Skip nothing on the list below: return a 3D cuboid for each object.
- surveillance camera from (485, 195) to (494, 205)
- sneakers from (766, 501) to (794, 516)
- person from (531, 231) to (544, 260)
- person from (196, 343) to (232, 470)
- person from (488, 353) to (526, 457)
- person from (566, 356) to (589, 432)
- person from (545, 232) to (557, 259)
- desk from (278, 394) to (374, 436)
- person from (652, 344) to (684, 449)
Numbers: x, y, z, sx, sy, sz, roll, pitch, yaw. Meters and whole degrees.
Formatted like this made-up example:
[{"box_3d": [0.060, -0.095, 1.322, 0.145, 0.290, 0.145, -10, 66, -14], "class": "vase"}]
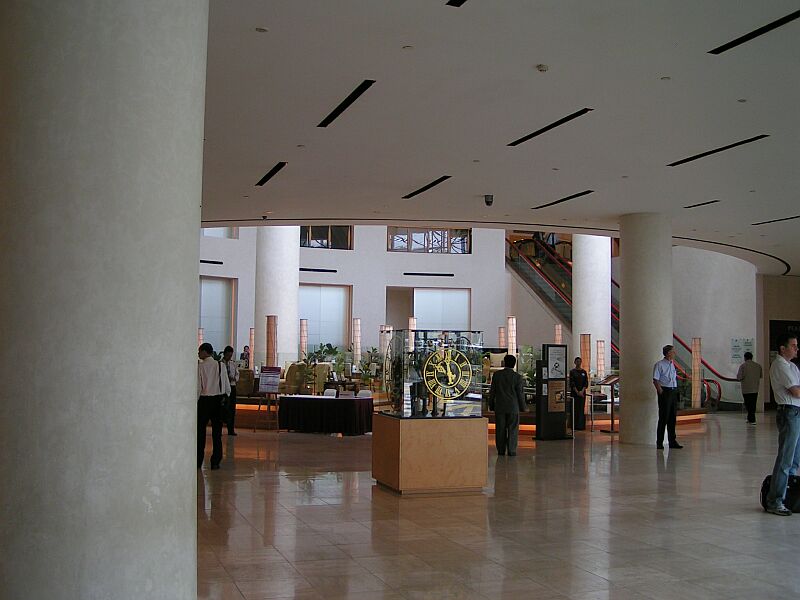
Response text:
[{"box_3d": [1.549, -1.724, 11.746, 0.131, 0.152, 0.135, 5, 7, 42], "class": "surveillance camera"}, {"box_3d": [3.809, 2.094, 6.784, 0.217, 0.112, 0.102, 0, -2, 2], "class": "sneakers"}, {"box_3d": [5.469, -2.114, 26.677, 0.356, 1.201, 1.764, 1, -2, 11], "class": "person"}, {"box_3d": [-2.527, 1.461, 9.170, 0.412, 1.731, 1.152, 2, -2, -15], "class": "person"}, {"box_3d": [1.666, 1.762, 10.618, 0.499, 1.404, 0.655, 1, -2, 7], "class": "person"}, {"box_3d": [3.946, 2.087, 14.966, 0.376, 1.584, 1.139, 1, -2, 14], "class": "person"}, {"box_3d": [5.880, -2.126, 26.057, 0.358, 0.892, 1.103, 1, -2, 13], "class": "person"}, {"box_3d": [-1.626, 2.407, 14.314, 1.904, 0.838, 0.613, 1, -2, 24], "class": "desk"}, {"box_3d": [4.740, 1.713, 11.986, 0.473, 1.822, 1.174, 1, -2, 23], "class": "person"}]
